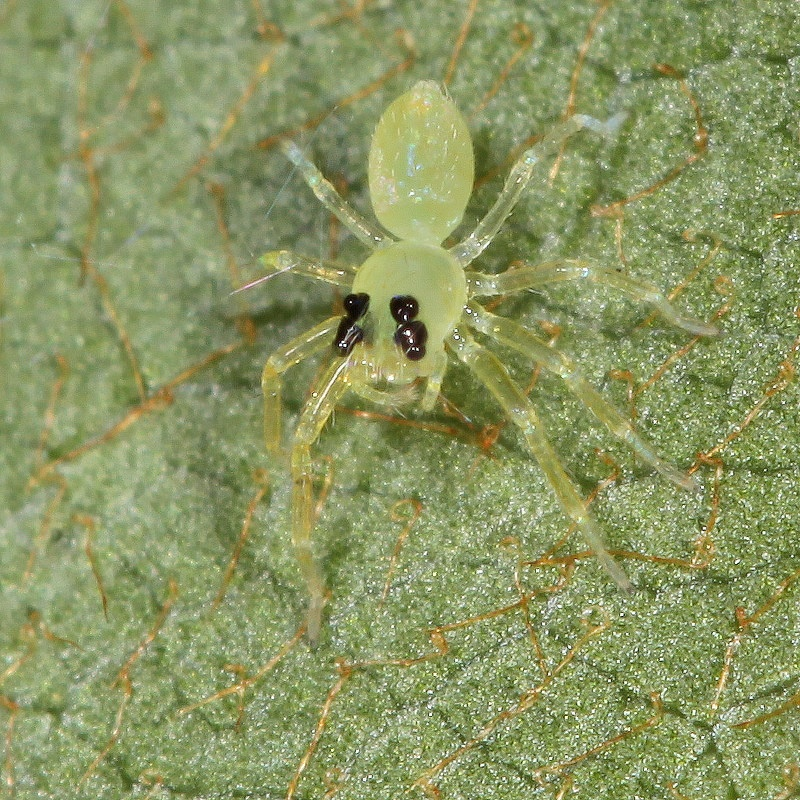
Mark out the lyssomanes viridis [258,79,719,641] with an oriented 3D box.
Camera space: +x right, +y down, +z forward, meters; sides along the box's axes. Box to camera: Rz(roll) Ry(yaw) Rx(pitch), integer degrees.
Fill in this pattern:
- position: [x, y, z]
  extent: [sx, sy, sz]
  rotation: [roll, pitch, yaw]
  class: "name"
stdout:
- position: [0.162, -0.265, 3.315]
  extent: [1.328, 0.369, 1.560]
  rotation: [-6, 87, 1]
  class: "lyssomanes viridis"
